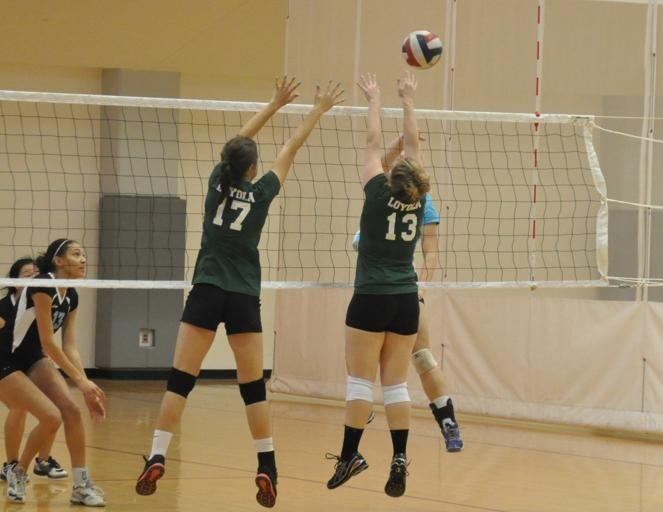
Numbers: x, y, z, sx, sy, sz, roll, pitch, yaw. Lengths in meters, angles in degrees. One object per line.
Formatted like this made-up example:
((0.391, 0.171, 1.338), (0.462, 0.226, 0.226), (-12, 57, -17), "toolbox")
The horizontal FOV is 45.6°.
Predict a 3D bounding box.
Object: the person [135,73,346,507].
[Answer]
((-0.717, 0.125, 5.708), (0.935, 3.513, 1.289), (6, 2, -15), "person")

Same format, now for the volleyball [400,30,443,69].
((0.726, -1.731, 6.689), (0.304, 0.351, 0.316), (15, -18, -29), "volleyball")

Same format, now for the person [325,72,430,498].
((0.385, 0.208, 5.681), (0.560, 3.064, 0.703), (5, -1, -12), "person")
